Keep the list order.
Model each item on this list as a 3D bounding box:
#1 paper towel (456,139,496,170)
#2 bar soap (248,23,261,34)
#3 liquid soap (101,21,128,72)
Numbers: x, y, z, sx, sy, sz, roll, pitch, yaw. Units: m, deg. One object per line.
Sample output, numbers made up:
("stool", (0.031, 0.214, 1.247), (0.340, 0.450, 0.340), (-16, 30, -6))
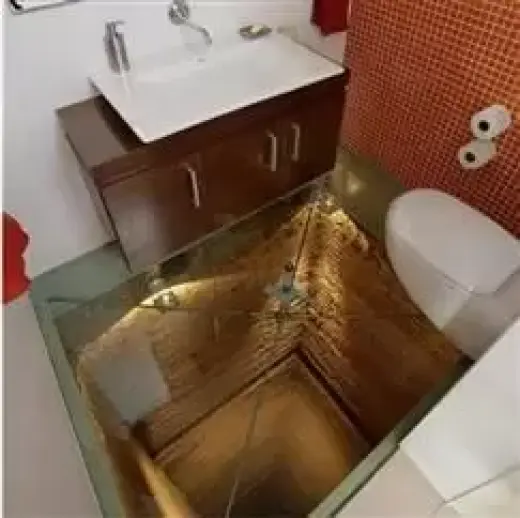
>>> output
("paper towel", (0.901, -0.431, 1.786), (0.115, 0.098, 0.092), (-28, 40, -30))
("bar soap", (-0.022, -0.997, 1.878), (0.037, 0.014, 0.057), (40, 79, 20))
("liquid soap", (-0.533, -0.773, 1.567), (0.113, 0.175, 0.069), (0, 57, -11))
